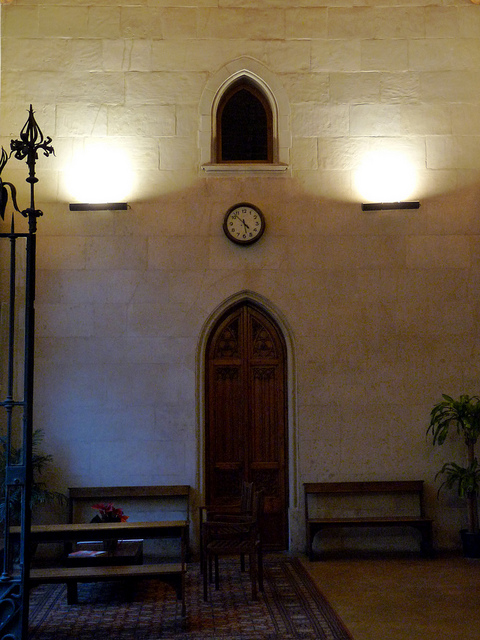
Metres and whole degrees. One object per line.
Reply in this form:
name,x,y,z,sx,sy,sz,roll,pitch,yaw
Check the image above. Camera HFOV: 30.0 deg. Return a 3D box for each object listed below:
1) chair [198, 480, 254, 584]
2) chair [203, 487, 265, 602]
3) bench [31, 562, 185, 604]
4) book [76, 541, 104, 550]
chair,-0.111,1.803,7.527,0.444,0.876,0.527,1,3,11
chair,-0.033,1.767,7.195,0.583,1.210,0.654,1,-8,1
bench,-0.967,1.856,6.466,1.102,0.230,0.416,-1,1,-4
book,-1.250,1.841,7.306,0.171,0.050,0.179,1,-1,-2
